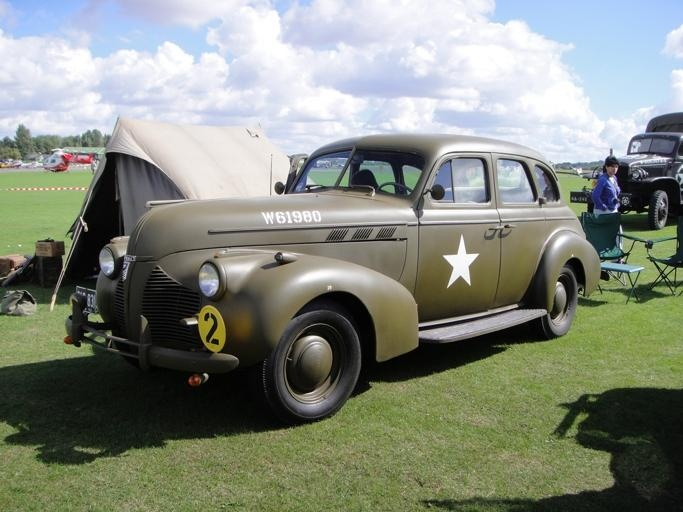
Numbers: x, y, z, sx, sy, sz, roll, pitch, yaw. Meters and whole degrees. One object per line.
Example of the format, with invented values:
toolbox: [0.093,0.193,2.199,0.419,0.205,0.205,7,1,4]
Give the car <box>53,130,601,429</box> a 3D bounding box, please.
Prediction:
car: [0.230,0.016,4.720,5.075,2.458,1.588,-7,12,-34]

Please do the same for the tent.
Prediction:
tent: [-2.838,-0.579,9.697,3.639,2.087,4.904,14,14,37]
